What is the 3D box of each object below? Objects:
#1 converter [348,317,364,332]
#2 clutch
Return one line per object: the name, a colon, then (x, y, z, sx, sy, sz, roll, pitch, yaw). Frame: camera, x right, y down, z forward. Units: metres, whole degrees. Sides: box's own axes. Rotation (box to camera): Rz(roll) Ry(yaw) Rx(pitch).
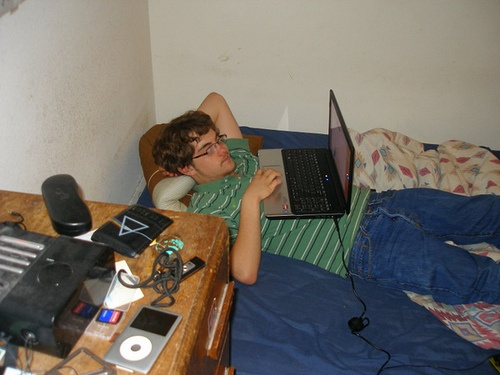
converter: (0.403, 0.507, 1.547, 0.068, 0.047, 0.039, -9, 25, -14)
clutch: (-0.325, 0.117, 1.168, 0.141, 0.033, 0.146, 26, 46, 23)
